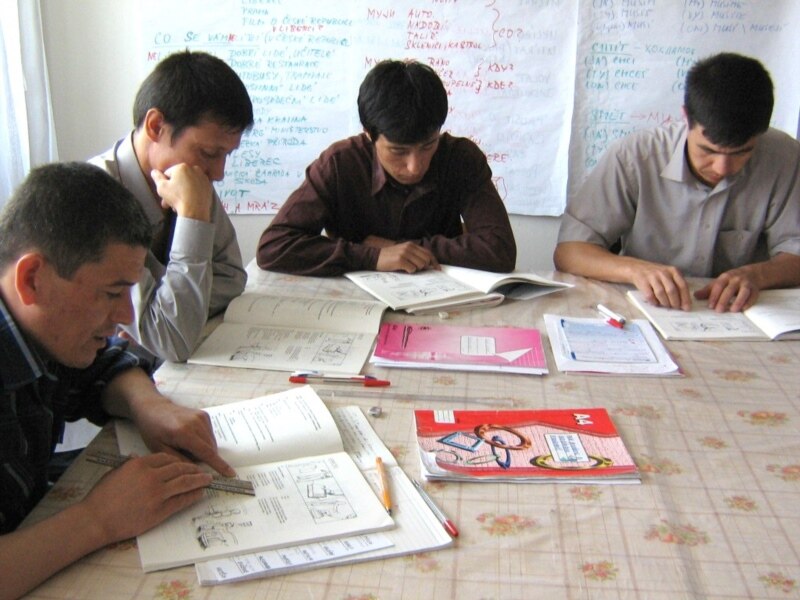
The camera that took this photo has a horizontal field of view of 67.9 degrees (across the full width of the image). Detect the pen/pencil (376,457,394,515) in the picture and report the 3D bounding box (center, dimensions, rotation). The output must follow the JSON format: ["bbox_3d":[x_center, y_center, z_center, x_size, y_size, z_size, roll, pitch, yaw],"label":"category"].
[{"bbox_3d":[-0.027,0.315,1.004,0.016,0.011,0.110,9,24,-16],"label":"pen/pencil"}]

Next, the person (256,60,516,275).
[{"bbox_3d":[-0.029,-0.433,1.952,0.838,0.647,0.545,2,27,5],"label":"person"}]
